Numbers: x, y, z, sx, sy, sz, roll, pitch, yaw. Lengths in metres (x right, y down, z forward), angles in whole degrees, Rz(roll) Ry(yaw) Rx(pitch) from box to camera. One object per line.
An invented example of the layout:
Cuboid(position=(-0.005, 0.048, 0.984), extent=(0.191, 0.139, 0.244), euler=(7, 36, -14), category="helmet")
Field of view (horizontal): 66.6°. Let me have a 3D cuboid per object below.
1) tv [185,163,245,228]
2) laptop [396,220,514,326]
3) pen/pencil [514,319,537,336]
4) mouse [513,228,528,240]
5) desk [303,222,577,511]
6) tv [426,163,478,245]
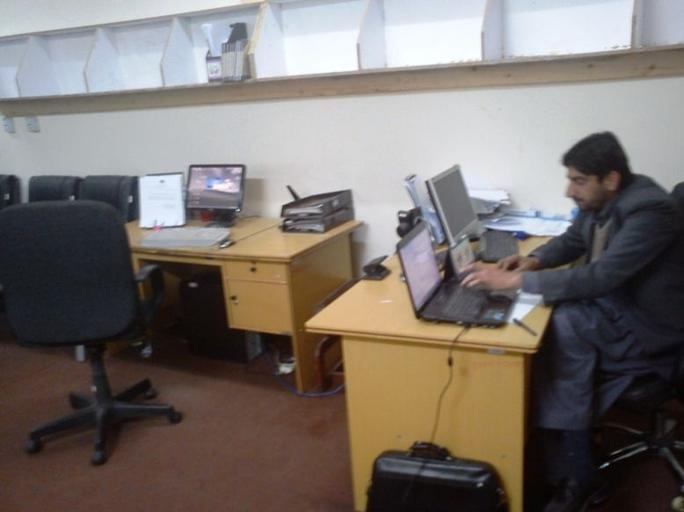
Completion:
Cuboid(position=(-0.896, -0.427, 3.681), extent=(0.442, 0.390, 0.140), euler=(7, 11, 18), category="tv")
Cuboid(position=(0.493, 0.132, 2.259), extent=(0.458, 0.335, 0.497), euler=(3, 19, 21), category="laptop")
Cuboid(position=(0.738, 0.286, 2.081), extent=(0.026, 0.005, 0.101), euler=(-19, 23, -15), category="pen/pencil")
Cuboid(position=(1.037, -0.125, 2.982), extent=(0.064, 0.035, 0.083), euler=(0, -3, 12), category="mouse")
Cuboid(position=(0.481, 0.398, 2.426), extent=(0.935, 0.843, 1.148), euler=(2, 14, 15), category="desk")
Cuboid(position=(0.610, -0.263, 2.821), extent=(0.053, 0.340, 0.466), euler=(-14, 13, 32), category="tv")
